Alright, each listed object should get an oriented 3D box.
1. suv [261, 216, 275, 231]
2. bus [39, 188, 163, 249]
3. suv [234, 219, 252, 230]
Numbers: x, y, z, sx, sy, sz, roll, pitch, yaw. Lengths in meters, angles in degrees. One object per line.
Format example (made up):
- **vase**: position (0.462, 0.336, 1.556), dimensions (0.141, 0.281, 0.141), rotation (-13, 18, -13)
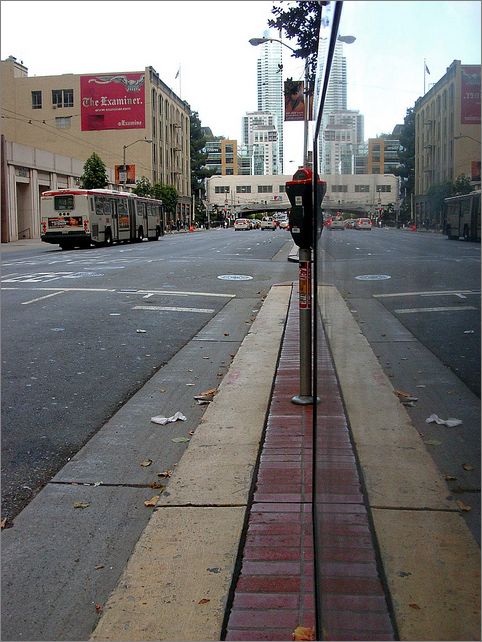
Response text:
- **suv**: position (4.111, -14.378, 83.948), dimensions (1.346, 1.438, 2.596), rotation (1, 19, 8)
- **bus**: position (-8.705, -7.143, 38.772), dimensions (2.826, 3.835, 12.943), rotation (2, 10, 14)
- **suv**: position (0.142, -15.002, 88.098), dimensions (1.528, 1.822, 4.151), rotation (-4, 7, 20)
